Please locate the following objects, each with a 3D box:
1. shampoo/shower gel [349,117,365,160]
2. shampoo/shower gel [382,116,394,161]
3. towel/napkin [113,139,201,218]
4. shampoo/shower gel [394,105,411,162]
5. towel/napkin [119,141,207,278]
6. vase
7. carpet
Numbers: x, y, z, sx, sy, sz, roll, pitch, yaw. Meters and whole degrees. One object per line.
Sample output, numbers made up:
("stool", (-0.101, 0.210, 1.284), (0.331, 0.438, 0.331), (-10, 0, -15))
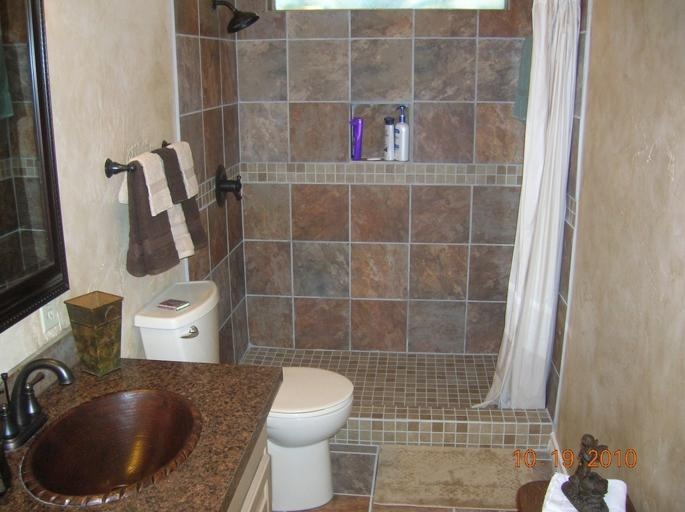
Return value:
("shampoo/shower gel", (0.076, -0.720, 3.647), (0.069, 0.257, 0.048), (4, 17, 11))
("shampoo/shower gel", (0.284, -0.713, 3.616), (0.060, 0.257, 0.039), (2, 16, 5))
("towel/napkin", (-0.747, -0.301, 2.336), (0.107, 0.175, 0.295), (6, 26, 12))
("shampoo/shower gel", (0.358, -0.712, 3.589), (0.096, 0.277, 0.058), (2, 16, 4))
("towel/napkin", (-0.737, -0.186, 2.376), (0.155, 0.506, 0.503), (8, 16, 15))
("vase", (-0.829, 0.263, 2.003), (0.153, 0.248, 0.157), (14, 18, 42))
("carpet", (0.577, 1.100, 2.945), (0.840, 0.075, 0.459), (3, 17, 5))
